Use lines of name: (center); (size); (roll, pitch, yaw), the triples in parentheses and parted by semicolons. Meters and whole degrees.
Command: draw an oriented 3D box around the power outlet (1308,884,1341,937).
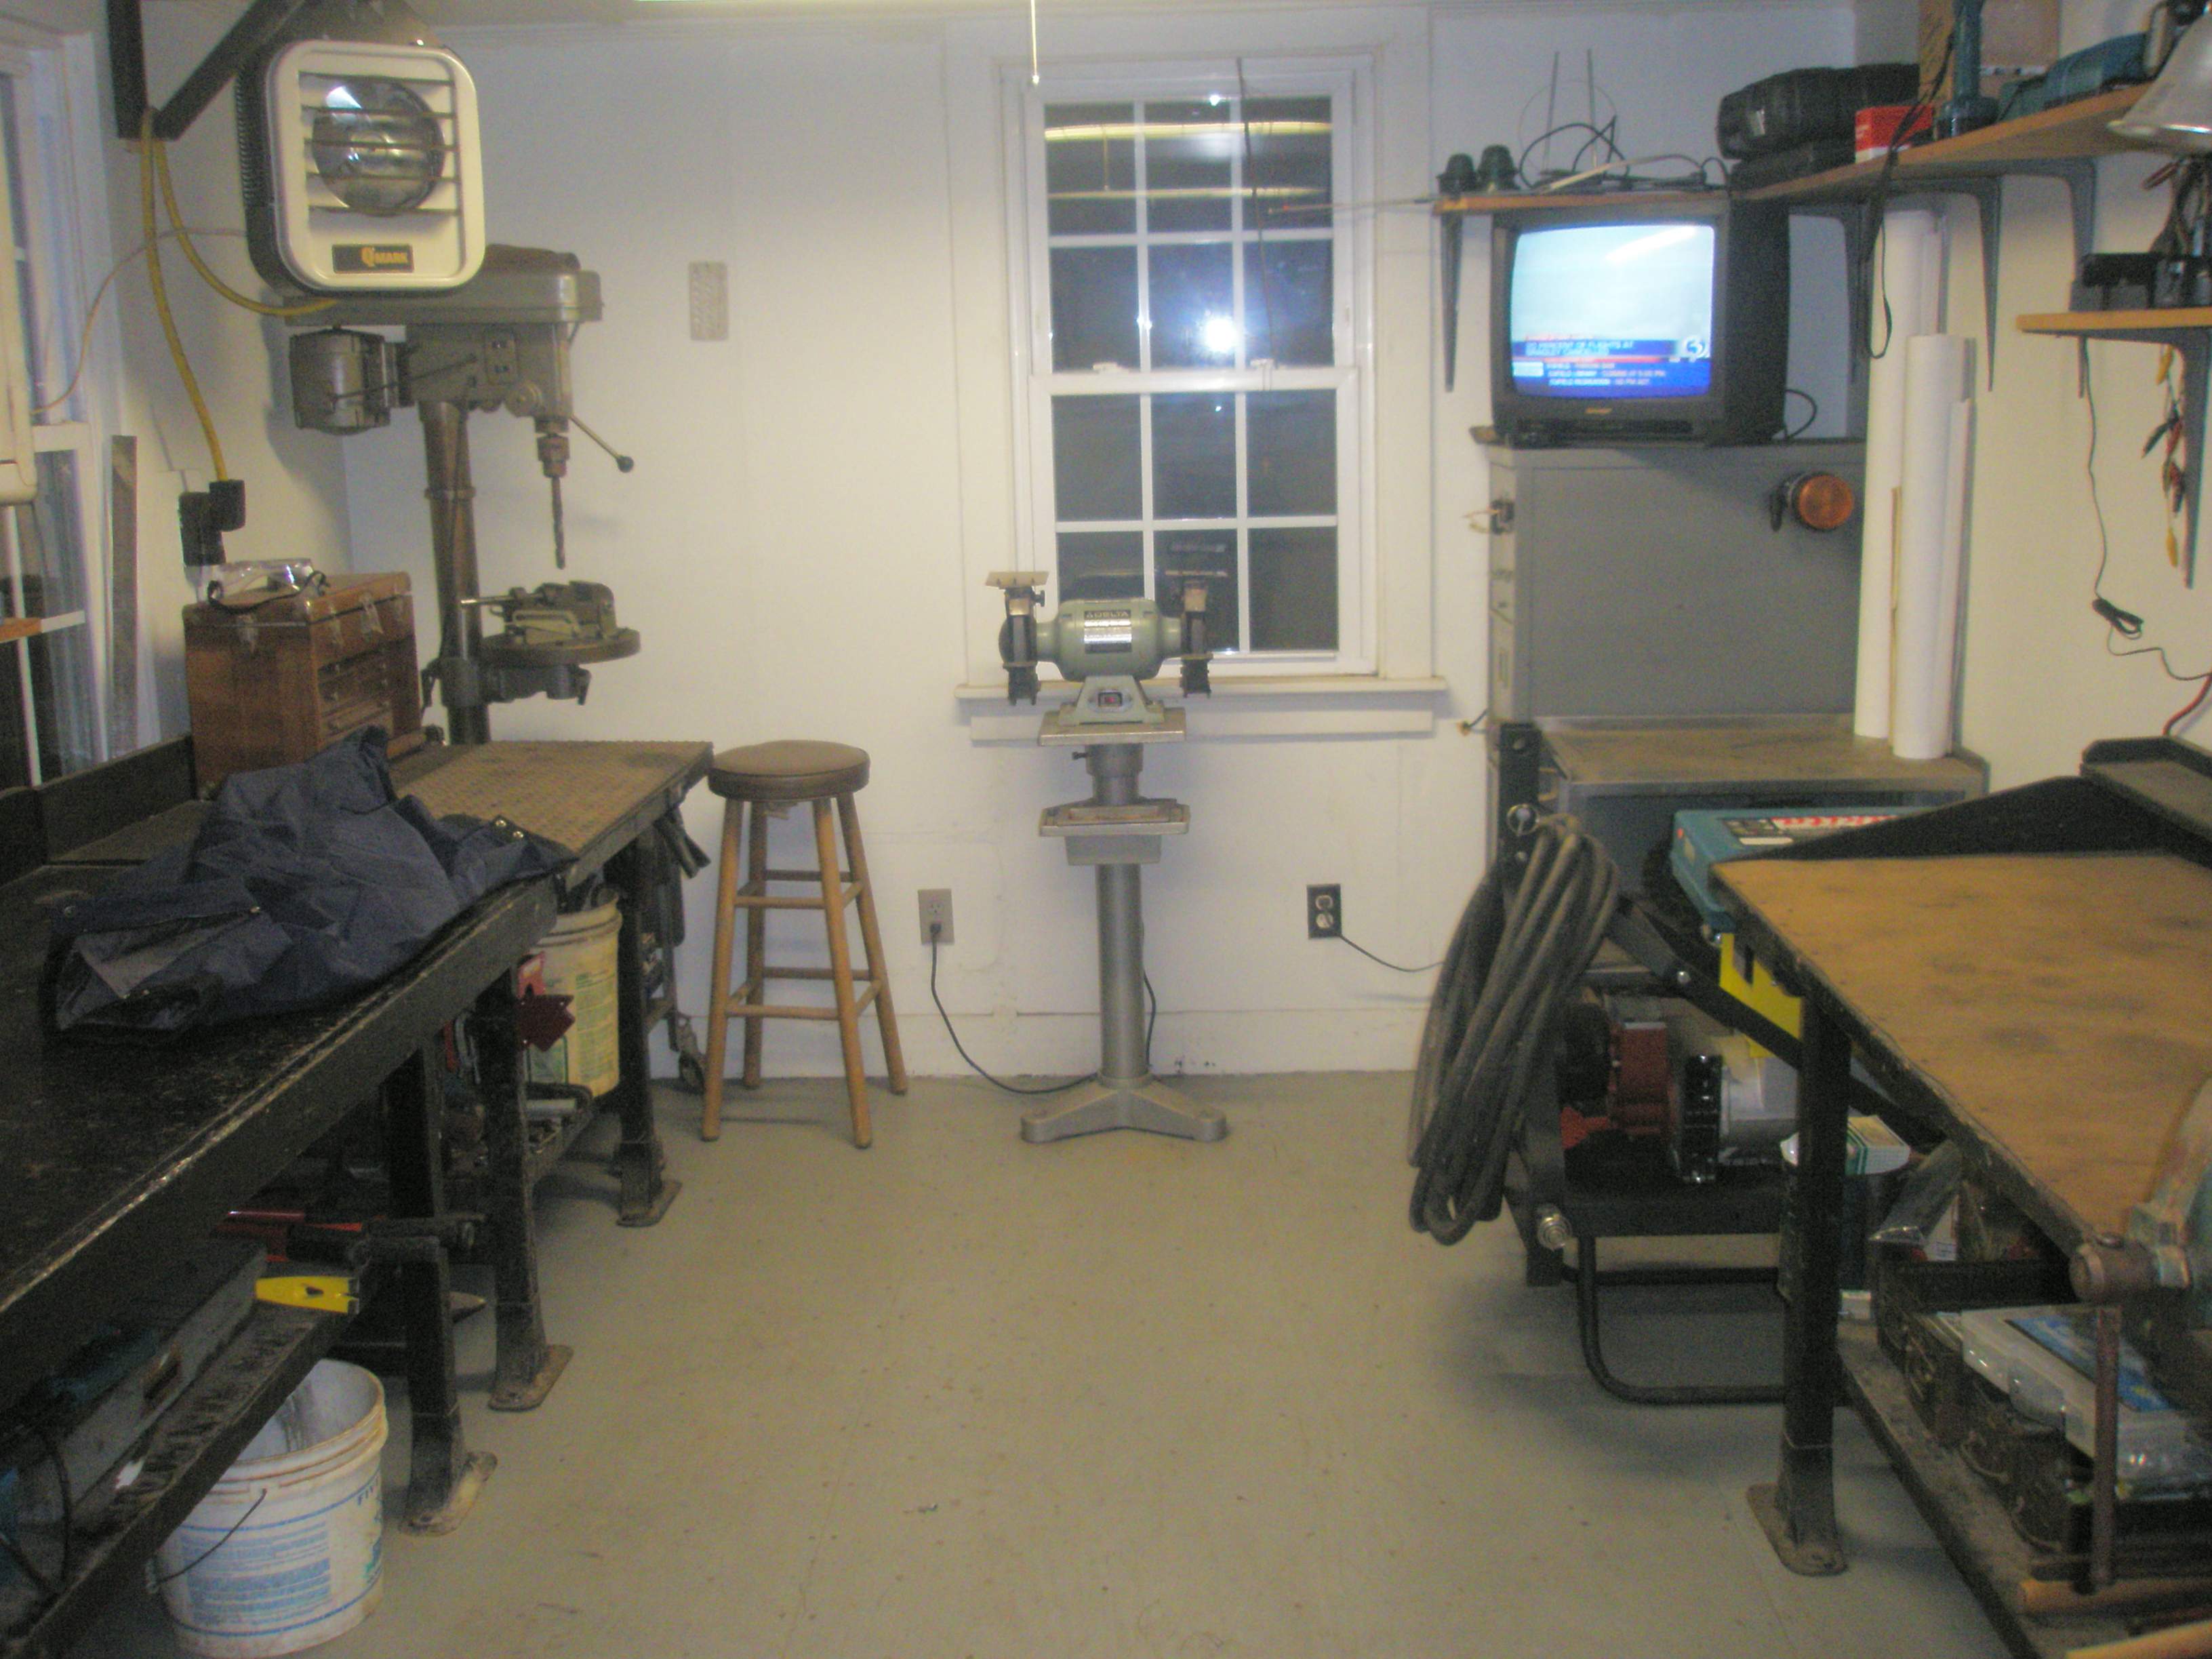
power outlet: (0.611, 0.222, 5.481); (0.127, 0.182, 0.017); (-1, 12, 0)

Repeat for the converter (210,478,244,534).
converter: (-2.010, -0.740, 4.442); (0.068, 0.104, 0.154); (-8, 15, -24)

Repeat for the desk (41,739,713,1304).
desk: (-1.498, 0.446, 4.409); (1.029, 1.046, 1.184); (2, 21, 4)

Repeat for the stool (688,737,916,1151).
stool: (-0.859, 0.263, 5.290); (0.574, 0.998, 0.772); (-3, 14, -6)

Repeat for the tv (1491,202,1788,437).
tv: (1.265, -1.184, 4.803); (0.858, 0.771, 0.540); (3, 14, 20)

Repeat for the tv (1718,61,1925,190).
tv: (1.631, -1.615, 4.488); (0.382, 0.235, 0.167); (11, 16, 43)

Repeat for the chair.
chair: (1.102, 0.617, 4.083); (0.860, 1.293, 1.087); (-1, 3, 0)

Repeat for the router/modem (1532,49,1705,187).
router/modem: (1.337, -1.861, 5.077); (0.369, 0.273, 0.206); (4, 34, 11)
